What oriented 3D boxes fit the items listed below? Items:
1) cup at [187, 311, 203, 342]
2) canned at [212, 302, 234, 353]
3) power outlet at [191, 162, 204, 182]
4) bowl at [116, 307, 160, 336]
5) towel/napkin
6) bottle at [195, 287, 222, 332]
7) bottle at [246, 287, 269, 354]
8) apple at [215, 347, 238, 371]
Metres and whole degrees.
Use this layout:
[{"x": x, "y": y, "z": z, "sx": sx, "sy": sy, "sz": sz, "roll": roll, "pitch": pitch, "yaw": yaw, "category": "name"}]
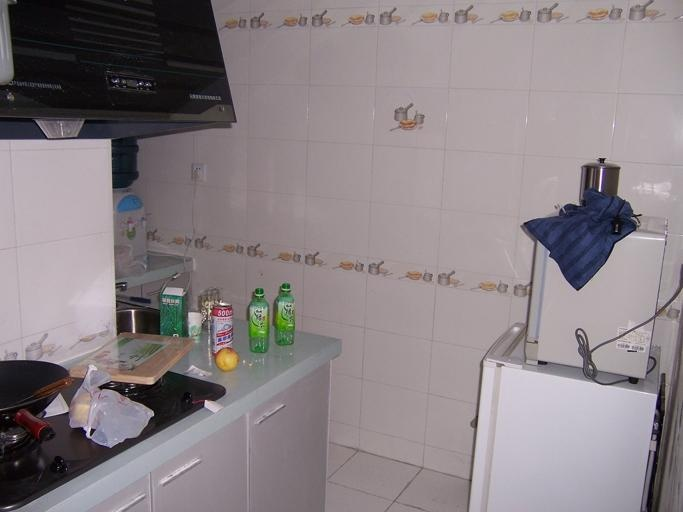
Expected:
[{"x": -0.580, "y": 0.270, "z": 1.913, "sx": 0.094, "sy": 0.105, "sz": 0.087, "roll": 2, "pitch": 3, "yaw": 0, "category": "cup"}, {"x": -0.433, "y": 0.270, "z": 1.798, "sx": 0.080, "sy": 0.188, "sz": 0.171, "roll": -2, "pitch": 9, "yaw": -15, "category": "canned"}, {"x": -0.882, "y": -0.532, "z": 3.065, "sx": 0.104, "sy": 0.122, "sz": 0.016, "roll": 12, "pitch": 20, "yaw": 21, "category": "power outlet"}, {"x": -0.919, "y": 0.292, "z": 2.300, "sx": 0.159, "sy": 0.164, "sz": 0.150, "roll": 4, "pitch": 7, "yaw": 0, "category": "bowl"}, {"x": 0.836, "y": -0.001, "z": 1.758, "sx": 0.324, "sy": 0.349, "sz": 0.129, "roll": 48, "pitch": 0, "yaw": 32, "category": "towel/napkin"}, {"x": -0.530, "y": 0.216, "z": 1.986, "sx": 0.128, "sy": 0.148, "sz": 0.135, "roll": -9, "pitch": 15, "yaw": -41, "category": "bottle"}, {"x": -0.322, "y": 0.237, "z": 1.948, "sx": 0.073, "sy": 0.239, "sz": 0.160, "roll": -1, "pitch": 9, "yaw": -6, "category": "bottle"}, {"x": -0.391, "y": 0.354, "z": 1.725, "sx": 0.077, "sy": 0.079, "sz": 0.076, "roll": 6, "pitch": -11, "yaw": -4, "category": "apple"}]
